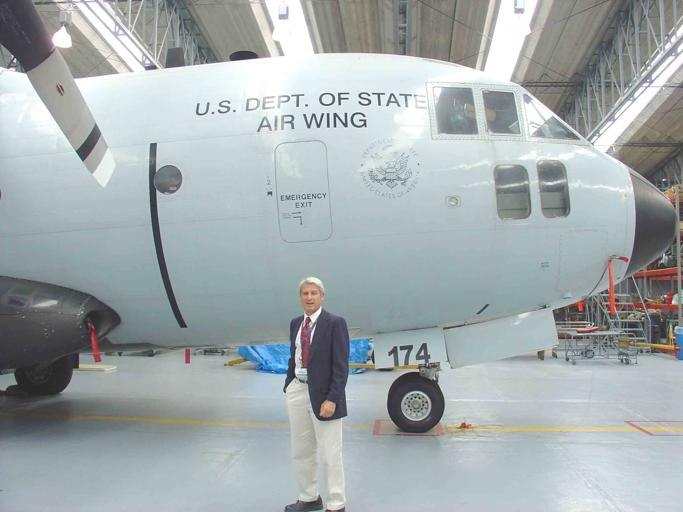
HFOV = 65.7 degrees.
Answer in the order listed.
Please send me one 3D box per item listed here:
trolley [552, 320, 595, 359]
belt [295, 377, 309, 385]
[{"bbox_3d":[7.582,2.906,16.902,1.193,0.678,0.563,-16,82,-19],"label":"trolley"},{"bbox_3d":[-0.432,1.397,5.942,0.102,0.101,0.026,15,91,-16],"label":"belt"}]
